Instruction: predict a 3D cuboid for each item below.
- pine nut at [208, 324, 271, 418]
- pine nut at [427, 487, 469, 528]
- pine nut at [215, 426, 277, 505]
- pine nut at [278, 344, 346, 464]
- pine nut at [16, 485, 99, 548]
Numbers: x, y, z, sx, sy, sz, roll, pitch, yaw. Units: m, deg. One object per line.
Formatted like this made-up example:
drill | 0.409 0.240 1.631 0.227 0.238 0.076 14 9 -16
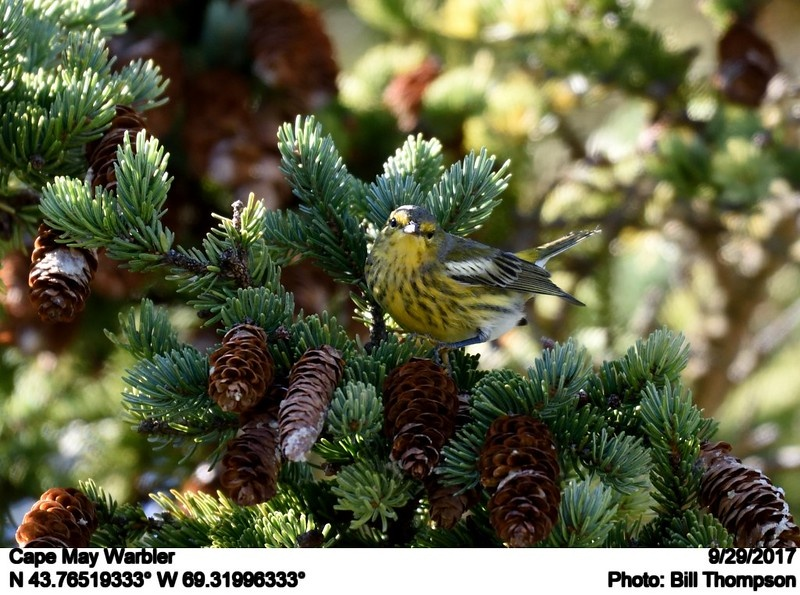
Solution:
pine nut | -0.594 0.242 3.566 0.195 0.185 0.355 38 39 -25
pine nut | 0.185 0.779 3.556 0.102 0.083 0.171 34 23 5
pine nut | -0.558 0.647 3.471 0.161 0.173 0.322 32 35 -30
pine nut | -0.332 0.408 3.516 0.179 0.162 0.484 39 29 -19
pine nut | -1.306 0.848 3.541 0.216 0.158 0.267 -29 23 -20
